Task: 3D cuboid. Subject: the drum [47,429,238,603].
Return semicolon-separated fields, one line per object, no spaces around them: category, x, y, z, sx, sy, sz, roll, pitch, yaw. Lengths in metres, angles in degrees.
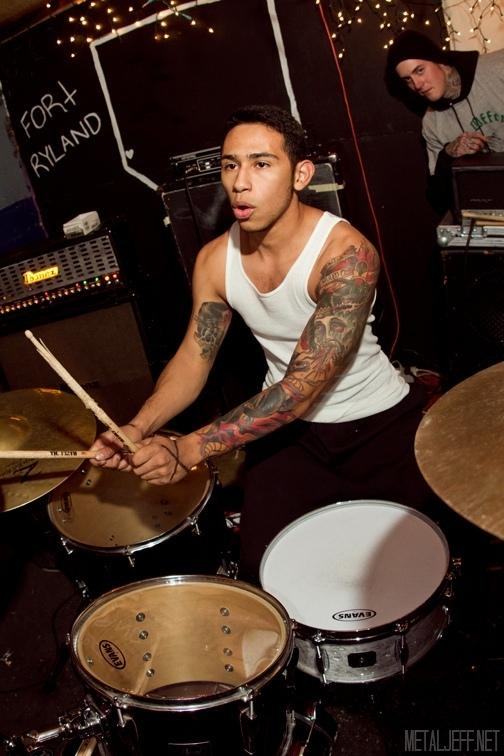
drum;-0.332;0.395;1.753;0.457;0.432;0.448;-28;28;-15

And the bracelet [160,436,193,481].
bracelet;-0.185;0.190;1.437;0.072;0.099;0.049;37;66;16

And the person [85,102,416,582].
person;-0.002;-0.110;1.549;0.713;0.991;0.783;-14;29;14
